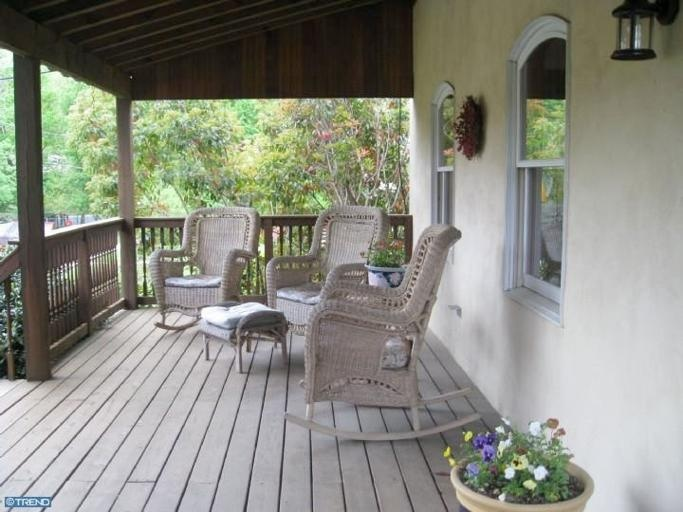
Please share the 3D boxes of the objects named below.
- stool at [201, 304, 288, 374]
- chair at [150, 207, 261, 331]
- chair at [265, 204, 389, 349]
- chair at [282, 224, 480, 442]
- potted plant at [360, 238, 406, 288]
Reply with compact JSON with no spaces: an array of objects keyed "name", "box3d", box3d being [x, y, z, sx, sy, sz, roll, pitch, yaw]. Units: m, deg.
[{"name":"stool","box3d":[-0.902,0.707,4.922,0.596,0.527,0.787,-5,3,-36]},{"name":"chair","box3d":[-1.476,0.148,5.906,1.020,1.458,1.132,1,1,3]},{"name":"chair","box3d":[-0.118,0.213,5.279,0.979,1.407,0.969,-3,8,-43]},{"name":"chair","box3d":[0.282,0.514,3.826,1.425,1.428,1.188,2,3,27]},{"name":"potted plant","box3d":[0.399,0.089,4.885,0.358,0.419,0.359,2,17,6]}]
